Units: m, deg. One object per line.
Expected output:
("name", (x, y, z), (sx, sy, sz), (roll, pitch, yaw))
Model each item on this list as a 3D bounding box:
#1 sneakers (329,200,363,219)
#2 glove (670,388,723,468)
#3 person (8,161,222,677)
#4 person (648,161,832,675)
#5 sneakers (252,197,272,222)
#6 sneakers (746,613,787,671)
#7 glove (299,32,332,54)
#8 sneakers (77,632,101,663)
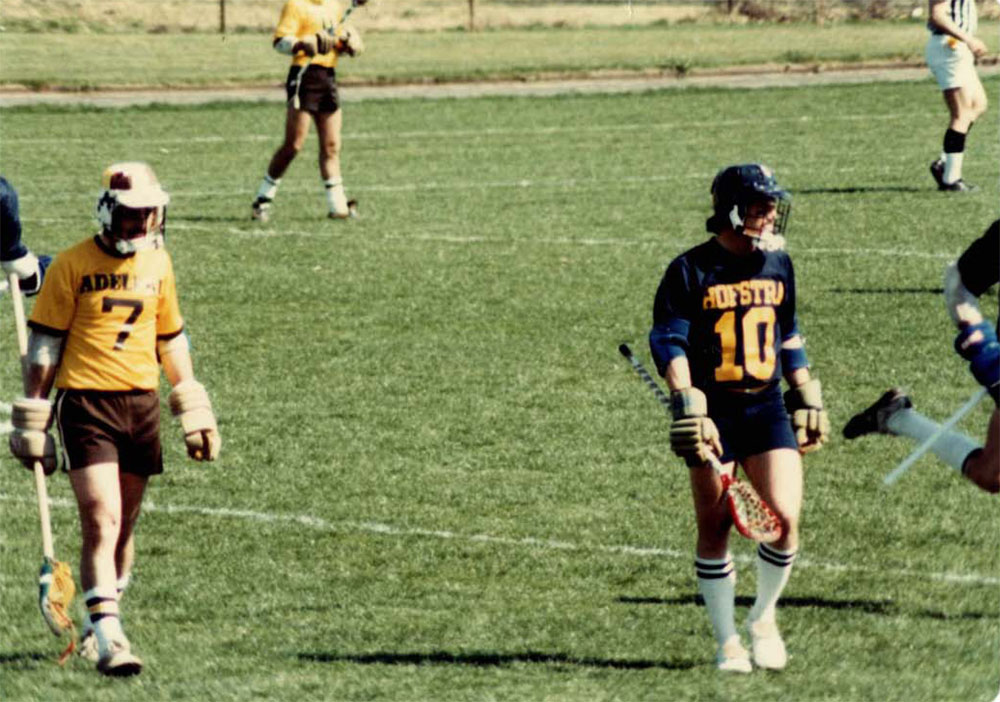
("sneakers", (-1.873, -1.666, 25.810), (0.199, 0.229, 0.315), (-1, -6, 29))
("glove", (1.635, 0.652, 17.936), (0.419, 0.653, 0.304), (-4, -3, 12))
("person", (-3.309, 0.463, 17.948), (1.600, 3.939, 0.872), (-2, 10, -16))
("person", (2.009, 0.580, 18.195), (1.445, 4.227, 0.816), (2, 10, 5))
("sneakers", (-2.888, -1.658, 25.617), (0.232, 0.288, 0.165), (7, -32, 13))
("sneakers", (2.294, 2.498, 18.243), (0.224, 0.229, 0.546), (-8, 42, -4))
("glove", (-2.129, -3.475, 24.462), (0.314, 0.139, 0.240), (8, 18, 32))
("sneakers", (-3.533, 2.522, 18.184), (0.199, 0.253, 0.106), (-7, 3, -3))
